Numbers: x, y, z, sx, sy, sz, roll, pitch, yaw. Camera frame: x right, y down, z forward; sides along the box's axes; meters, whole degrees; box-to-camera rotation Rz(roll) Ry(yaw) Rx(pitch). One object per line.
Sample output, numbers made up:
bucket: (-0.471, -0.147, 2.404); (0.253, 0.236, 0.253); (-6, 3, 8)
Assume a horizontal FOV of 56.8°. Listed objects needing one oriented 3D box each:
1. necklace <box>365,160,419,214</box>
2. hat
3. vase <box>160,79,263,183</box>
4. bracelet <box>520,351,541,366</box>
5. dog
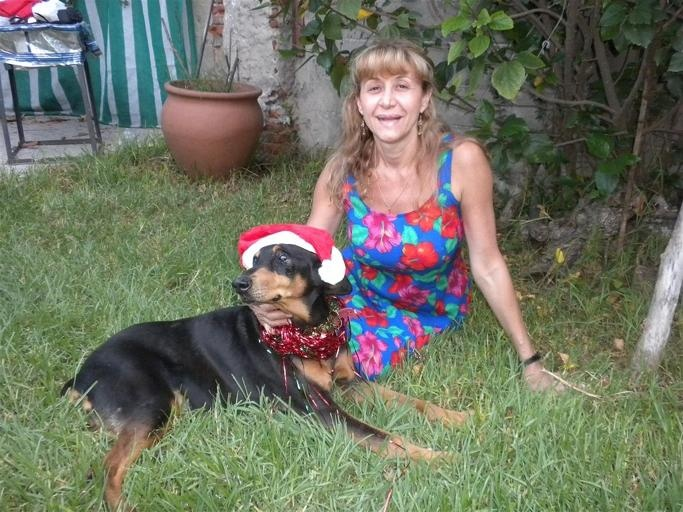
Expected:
necklace: (0.275, -0.376, 3.566); (0.211, 0.303, 0.094); (0, -16, 10)
hat: (-0.228, -0.063, 2.982); (0.371, 0.147, 0.312); (23, 10, 3)
vase: (-1.285, -1.250, 6.223); (1.003, 0.938, 1.039); (-5, 27, -20)
bracelet: (1.003, 0.550, 3.360); (0.080, 0.025, 0.079); (-19, -8, -40)
dog: (-0.453, 0.409, 3.232); (2.026, 1.384, 0.983); (-7, 22, -2)
